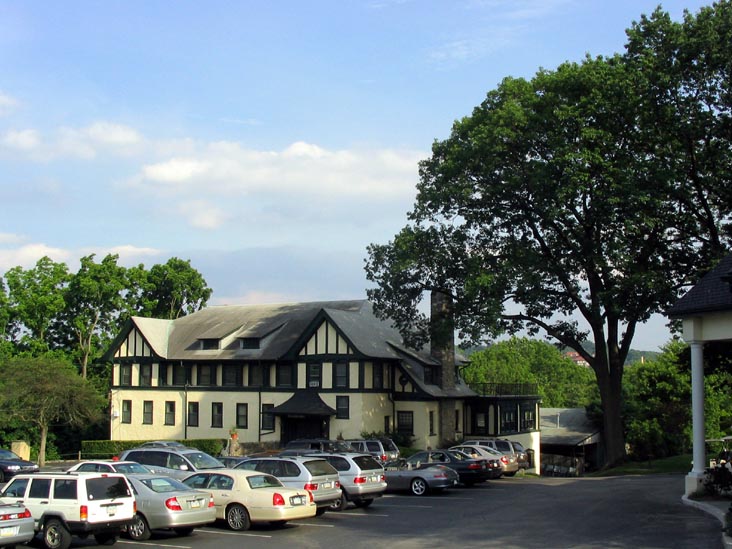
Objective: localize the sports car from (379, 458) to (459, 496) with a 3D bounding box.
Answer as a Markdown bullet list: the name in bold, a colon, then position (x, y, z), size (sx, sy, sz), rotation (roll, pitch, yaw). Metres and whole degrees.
- **sports car**: position (2.687, 10.382, 55.294), size (2.926, 1.047, 1.749), rotation (-1, -4, 24)

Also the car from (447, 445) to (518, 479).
- **car**: position (6.617, 11.173, 62.893), size (4.018, 1.459, 1.966), rotation (1, -3, 25)

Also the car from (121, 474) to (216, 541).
- **car**: position (-8.102, 9.716, 45.283), size (4.116, 1.524, 1.964), rotation (2, -3, 35)

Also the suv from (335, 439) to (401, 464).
- **suv**: position (0.208, 10.672, 64.536), size (2.787, 1.508, 1.820), rotation (-4, -5, 21)

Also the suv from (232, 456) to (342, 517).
- **suv**: position (-3.040, 9.622, 49.259), size (4.607, 2.028, 2.359), rotation (2, -2, 30)

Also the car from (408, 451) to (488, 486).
- **car**: position (4.633, 10.403, 57.611), size (4.605, 1.834, 1.977), rotation (-7, -10, 40)

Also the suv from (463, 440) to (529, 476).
- **suv**: position (8.112, 11.677, 68.523), size (4.031, 1.612, 1.960), rotation (1, -5, 14)
